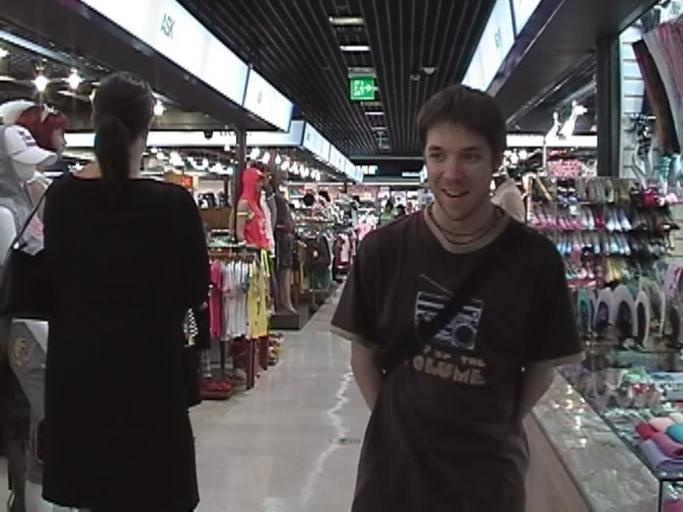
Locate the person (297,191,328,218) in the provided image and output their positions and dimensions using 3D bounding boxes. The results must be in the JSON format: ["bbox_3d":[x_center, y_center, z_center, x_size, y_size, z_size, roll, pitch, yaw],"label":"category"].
[{"bbox_3d":[-0.621,-1.128,10.893,0.476,0.448,0.802,1,-3,-6],"label":"person"}]
